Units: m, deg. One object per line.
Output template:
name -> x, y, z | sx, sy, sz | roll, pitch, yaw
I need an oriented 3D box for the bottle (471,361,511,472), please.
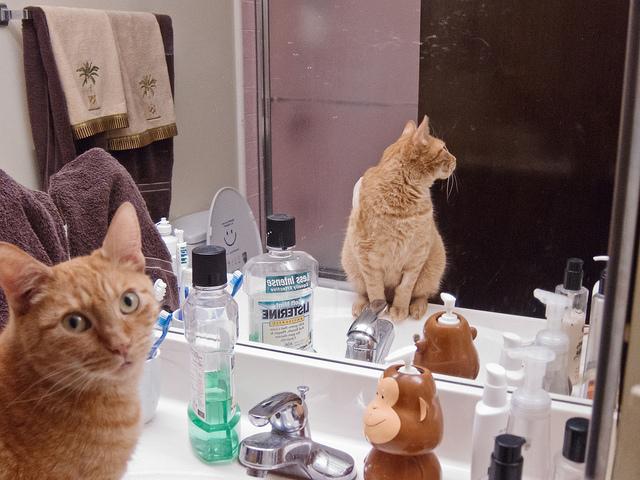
bottle -> 0.261, 0.277, 0.904 | 0.045, 0.169, 0.064 | 11, 20, 34

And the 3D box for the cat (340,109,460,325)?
cat -> 0.165, -0.057, 1.154 | 0.258, 0.502, 0.308 | -4, 11, -1

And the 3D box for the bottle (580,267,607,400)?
bottle -> 0.438, 0.155, 0.988 | 0.029, 0.211, 0.043 | 5, -1, 17

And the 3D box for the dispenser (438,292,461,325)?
dispenser -> 0.223, 0.121, 1.023 | 0.035, 0.048, 0.041 | 1, 6, 17

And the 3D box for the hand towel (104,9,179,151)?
hand towel -> -0.325, -0.285, 1.081 | 0.150, 0.232, 0.054 | -9, 13, -26

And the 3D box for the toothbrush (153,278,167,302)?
toothbrush -> -0.266, 0.084, 0.985 | 0.018, 0.040, 0.094 | 1, -7, -13

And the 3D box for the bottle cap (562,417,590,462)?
bottle cap -> 0.357, 0.277, 0.828 | 0.028, 0.054, 0.038 | 8, 19, 25

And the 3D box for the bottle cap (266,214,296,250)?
bottle cap -> -0.069, -0.012, 1.052 | 0.050, 0.064, 0.055 | 0, 12, 0

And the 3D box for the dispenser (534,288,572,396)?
dispenser -> 0.391, 0.184, 0.991 | 0.060, 0.180, 0.063 | 5, -3, 31

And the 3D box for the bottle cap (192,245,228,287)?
bottle cap -> -0.171, 0.035, 0.947 | 0.052, 0.056, 0.052 | -11, 21, -31

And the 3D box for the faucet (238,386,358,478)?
faucet -> -0.041, 0.324, 0.955 | 0.166, 0.140, 0.143 | 5, 5, 33

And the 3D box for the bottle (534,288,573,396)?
bottle -> 0.381, 0.180, 0.992 | 0.061, 0.171, 0.063 | 9, 4, -1

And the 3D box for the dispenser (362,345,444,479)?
dispenser -> 0.120, 0.263, 0.902 | 0.096, 0.224, 0.106 | 10, 16, 24

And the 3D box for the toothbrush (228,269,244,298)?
toothbrush -> -0.153, 0.082, 1.105 | 0.011, 0.049, 0.024 | 16, -3, -39

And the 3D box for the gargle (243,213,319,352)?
gargle -> -0.070, 0.104, 1.077 | 0.101, 0.289, 0.100 | -8, 18, -25

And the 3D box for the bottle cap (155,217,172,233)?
bottle cap -> -0.289, -0.027, 1.098 | 0.018, 0.027, 0.024 | 16, 23, 42

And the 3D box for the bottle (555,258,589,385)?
bottle -> 0.406, 0.133, 0.987 | 0.033, 0.193, 0.052 | 5, 21, 15

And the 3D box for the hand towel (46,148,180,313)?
hand towel -> -0.342, 0.011, 1.070 | 0.204, 0.281, 0.166 | -9, 30, -4

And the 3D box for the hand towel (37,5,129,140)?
hand towel -> -0.413, -0.299, 1.061 | 0.027, 0.226, 0.123 | 7, 23, 20

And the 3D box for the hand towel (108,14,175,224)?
hand towel -> -0.325, -0.207, 1.064 | 0.043, 0.393, 0.138 | 17, 23, 36

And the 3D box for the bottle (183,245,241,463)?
bottle -> -0.189, 0.174, 1.033 | 0.103, 0.360, 0.191 | -3, 17, -10
